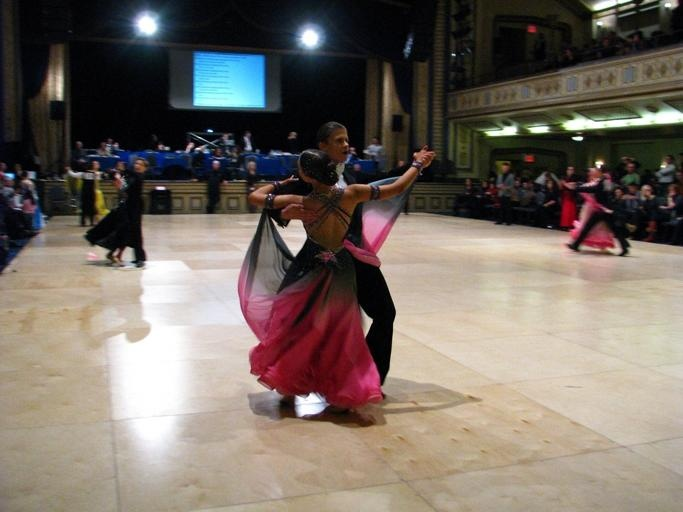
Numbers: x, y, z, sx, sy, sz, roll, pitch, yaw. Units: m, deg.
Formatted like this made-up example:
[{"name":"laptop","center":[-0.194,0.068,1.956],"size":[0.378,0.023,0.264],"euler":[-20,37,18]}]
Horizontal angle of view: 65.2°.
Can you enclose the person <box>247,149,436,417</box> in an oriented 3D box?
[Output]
[{"name":"person","center":[-0.196,0.163,3.638],"size":[1.120,1.747,0.739],"euler":[4,13,11]}]
